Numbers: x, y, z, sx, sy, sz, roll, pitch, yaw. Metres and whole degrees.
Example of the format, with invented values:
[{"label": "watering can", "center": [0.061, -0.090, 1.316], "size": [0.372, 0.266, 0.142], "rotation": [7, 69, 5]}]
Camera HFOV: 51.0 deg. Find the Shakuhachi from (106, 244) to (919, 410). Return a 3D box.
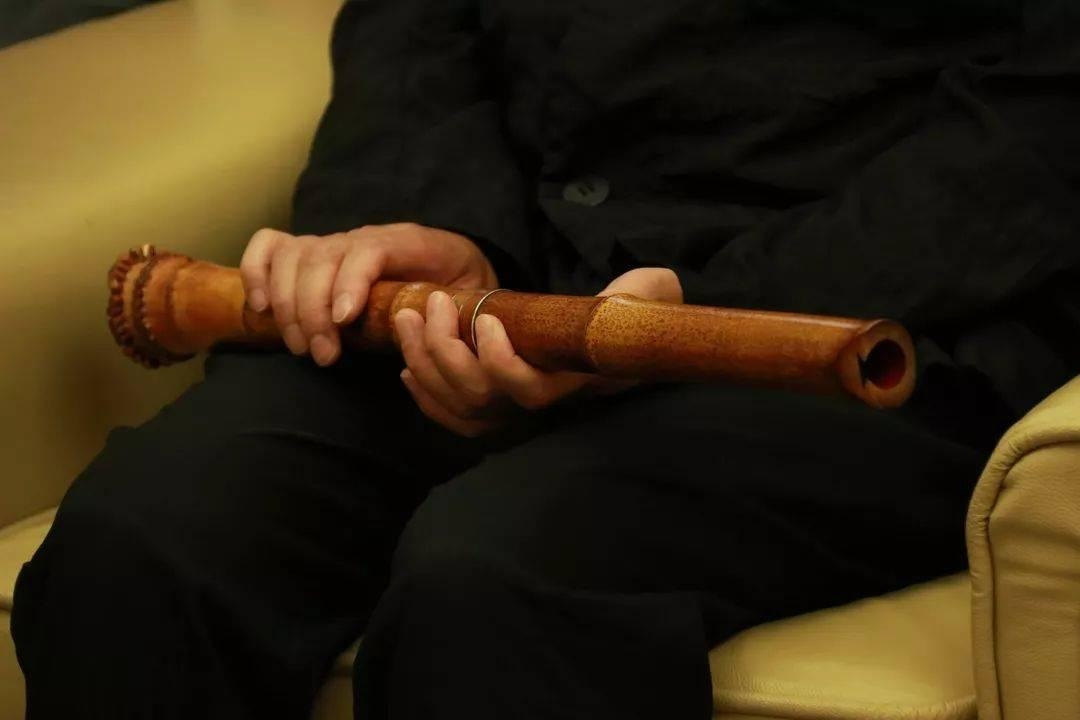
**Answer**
[{"label": "Shakuhachi", "center": [-0.087, -0.013, 1.045], "size": [0.823, 0.184, 0.124], "rotation": [9, 80, 20]}]
